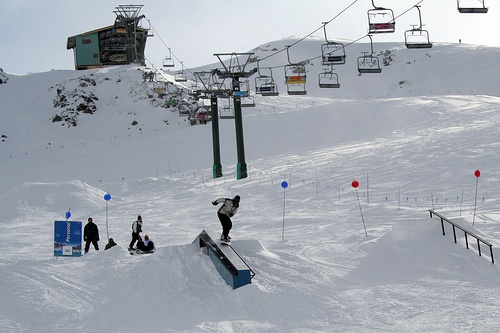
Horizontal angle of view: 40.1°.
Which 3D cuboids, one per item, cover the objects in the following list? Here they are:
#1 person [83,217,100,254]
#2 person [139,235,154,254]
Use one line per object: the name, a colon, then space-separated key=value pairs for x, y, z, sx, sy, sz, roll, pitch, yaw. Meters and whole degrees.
person: x=-8.970 y=3.830 z=38.313 sx=0.929 sy=1.939 sz=1.330 roll=-12 pitch=12 yaw=-9
person: x=-5.775 y=4.198 z=38.010 sx=0.869 sy=0.965 sz=1.321 roll=-11 pitch=11 yaw=-9
